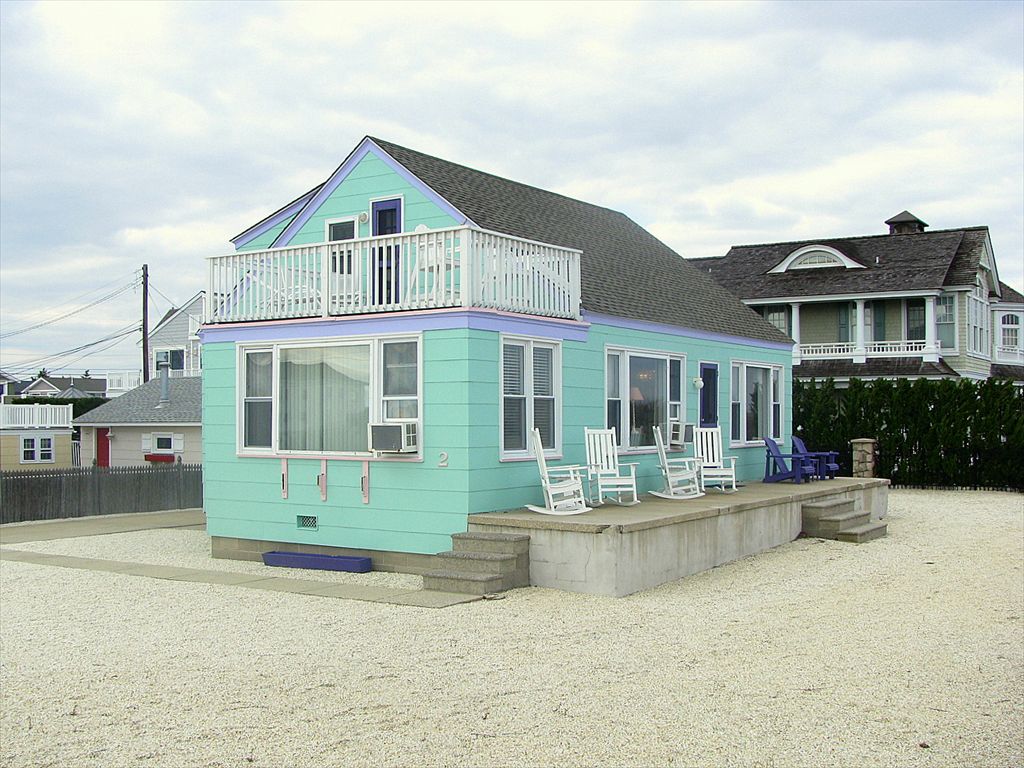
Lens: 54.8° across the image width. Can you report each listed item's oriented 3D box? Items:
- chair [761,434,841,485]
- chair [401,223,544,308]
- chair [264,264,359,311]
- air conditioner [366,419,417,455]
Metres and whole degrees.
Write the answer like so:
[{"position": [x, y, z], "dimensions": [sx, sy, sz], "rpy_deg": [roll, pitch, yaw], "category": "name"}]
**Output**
[{"position": [5.990, 1.563, 20.883], "dimensions": [1.318, 0.984, 2.347], "rpy_deg": [0, 0, 28], "category": "chair"}, {"position": [-0.699, -1.720, 14.778], "dimensions": [1.913, 1.202, 1.972], "rpy_deg": [0, 0, 11], "category": "chair"}, {"position": [-3.188, -1.501, 15.726], "dimensions": [1.020, 0.613, 1.028], "rpy_deg": [-1, -1, 25], "category": "chair"}, {"position": [-1.717, 0.734, 14.066], "dimensions": [0.827, 0.564, 0.432], "rpy_deg": [1, 0, 33], "category": "air conditioner"}]
